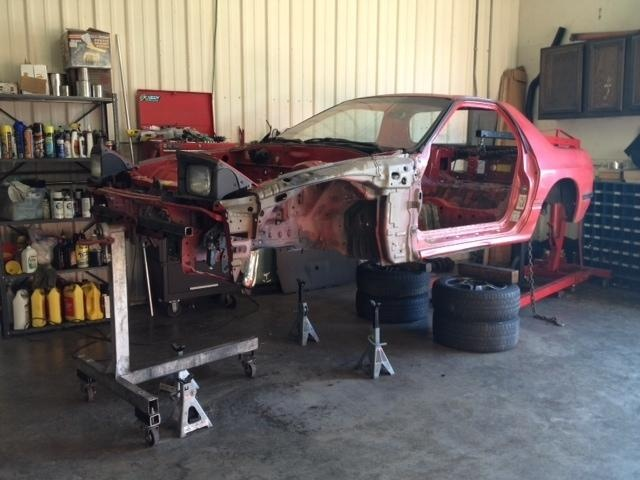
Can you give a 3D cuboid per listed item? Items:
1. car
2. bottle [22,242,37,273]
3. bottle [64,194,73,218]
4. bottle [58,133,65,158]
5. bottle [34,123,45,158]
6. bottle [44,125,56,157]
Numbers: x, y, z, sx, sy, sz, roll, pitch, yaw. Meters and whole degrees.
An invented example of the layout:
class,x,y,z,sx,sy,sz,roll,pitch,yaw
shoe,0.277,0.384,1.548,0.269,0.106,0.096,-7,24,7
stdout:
class,x,y,z,sx,sy,sz,roll,pitch,yaw
car,0.718,-0.290,5.791,5.507,2.400,1.776,-9,15,-33
bottle,-3.223,0.216,6.083,0.142,0.286,0.178,4,13,22
bottle,-2.824,-0.358,6.124,0.107,0.245,0.095,-8,14,-27
bottle,-2.899,-1.035,6.078,0.091,0.250,0.073,-7,14,-26
bottle,-3.093,-1.079,5.993,0.126,0.362,0.098,-8,14,-28
bottle,-2.992,-1.076,6.067,0.108,0.331,0.145,9,16,39
